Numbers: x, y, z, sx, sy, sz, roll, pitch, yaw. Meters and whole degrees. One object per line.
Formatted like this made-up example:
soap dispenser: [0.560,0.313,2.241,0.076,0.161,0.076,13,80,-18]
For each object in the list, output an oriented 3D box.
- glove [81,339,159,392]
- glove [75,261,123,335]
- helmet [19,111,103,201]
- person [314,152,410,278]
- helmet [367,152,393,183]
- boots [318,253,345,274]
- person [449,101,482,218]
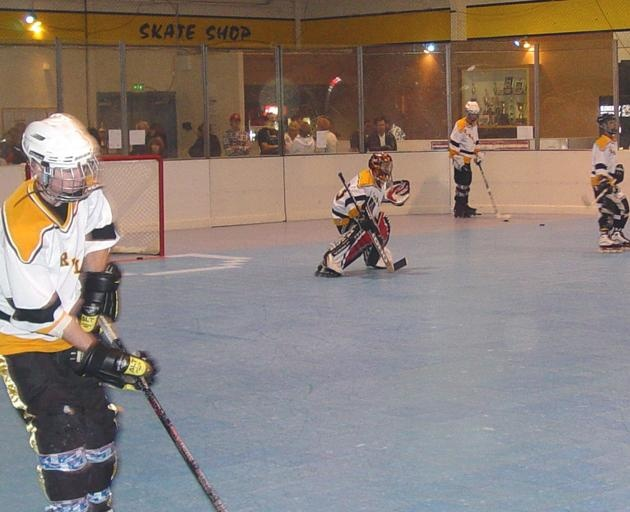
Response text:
glove: [-0.654,0.372,2.390,0.248,0.147,0.119,21,-38,-22]
glove: [-0.798,0.152,2.546,0.131,0.245,0.124,0,15,3]
helmet: [-0.829,-0.315,2.283,0.221,0.281,0.181,-5,10,-24]
person: [0.679,-0.474,8.581,1.352,1.472,0.972,-17,27,-36]
helmet: [0.851,-1.074,8.499,0.298,0.372,0.379,-3,-4,-18]
boots: [0.180,0.093,8.292,0.288,0.271,0.181,-3,9,-8]
person: [3.042,-1.920,13.929,0.662,2.213,0.809,3,10,31]
